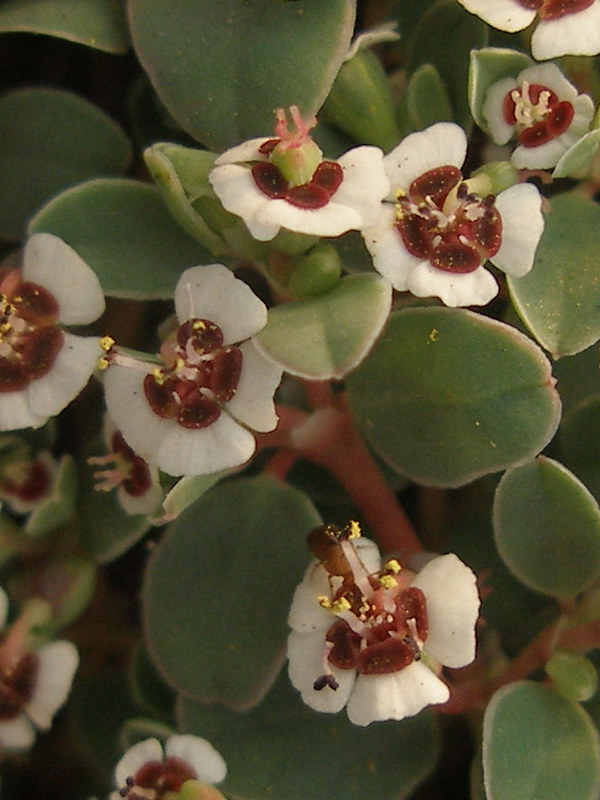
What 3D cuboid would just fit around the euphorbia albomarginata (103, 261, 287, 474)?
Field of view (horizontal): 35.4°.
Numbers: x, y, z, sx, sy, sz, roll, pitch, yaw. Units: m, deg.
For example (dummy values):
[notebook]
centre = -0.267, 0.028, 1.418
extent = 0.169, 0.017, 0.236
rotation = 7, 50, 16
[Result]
[euphorbia albomarginata]
centre = -0.095, -0.030, 0.899
extent = 0.211, 0.183, 0.064
rotation = 16, 12, 33
